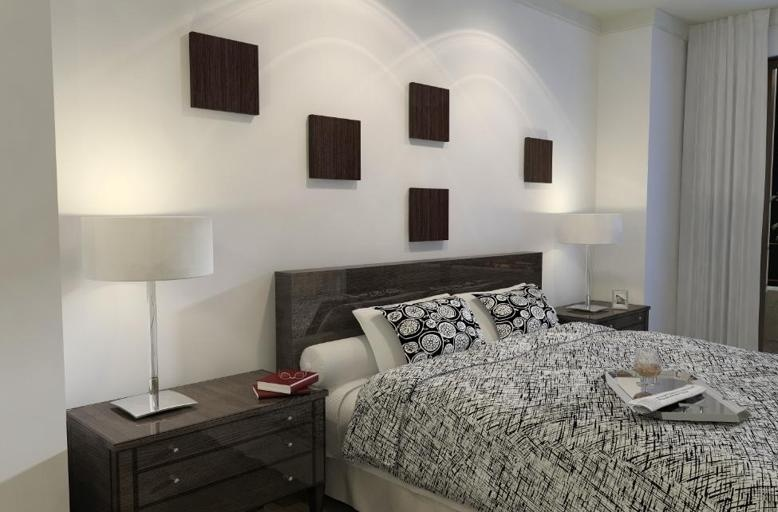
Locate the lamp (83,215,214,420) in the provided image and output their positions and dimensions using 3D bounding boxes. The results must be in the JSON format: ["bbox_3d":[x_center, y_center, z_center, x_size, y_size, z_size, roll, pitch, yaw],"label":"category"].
[{"bbox_3d":[-0.964,0.232,2.240,0.500,0.830,0.309,-6,12,-26],"label":"lamp"}]

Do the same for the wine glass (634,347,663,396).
[{"bbox_3d":[1.124,0.507,2.308,0.128,0.212,0.123,-1,0,39],"label":"wine glass"}]

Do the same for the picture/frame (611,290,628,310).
[{"bbox_3d":[1.914,0.362,4.423,0.138,0.171,0.018,4,-13,0],"label":"picture/frame"}]
